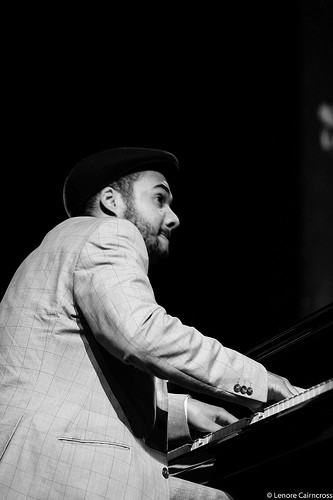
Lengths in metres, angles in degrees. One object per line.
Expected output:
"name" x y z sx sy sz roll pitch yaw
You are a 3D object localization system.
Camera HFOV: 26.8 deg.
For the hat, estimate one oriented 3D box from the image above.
"hat" -0.120 -0.167 1.728 0.233 0.092 0.186 -25 -19 4
